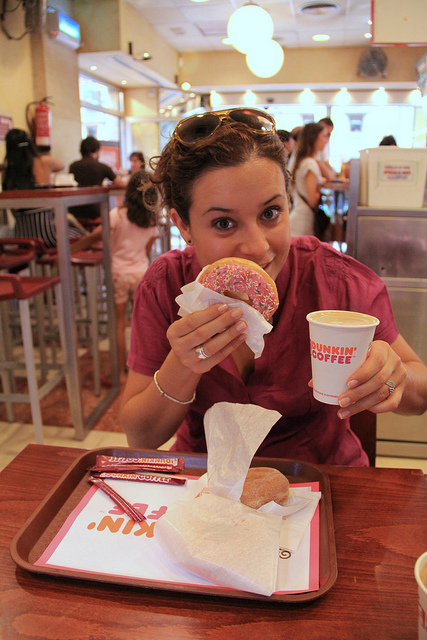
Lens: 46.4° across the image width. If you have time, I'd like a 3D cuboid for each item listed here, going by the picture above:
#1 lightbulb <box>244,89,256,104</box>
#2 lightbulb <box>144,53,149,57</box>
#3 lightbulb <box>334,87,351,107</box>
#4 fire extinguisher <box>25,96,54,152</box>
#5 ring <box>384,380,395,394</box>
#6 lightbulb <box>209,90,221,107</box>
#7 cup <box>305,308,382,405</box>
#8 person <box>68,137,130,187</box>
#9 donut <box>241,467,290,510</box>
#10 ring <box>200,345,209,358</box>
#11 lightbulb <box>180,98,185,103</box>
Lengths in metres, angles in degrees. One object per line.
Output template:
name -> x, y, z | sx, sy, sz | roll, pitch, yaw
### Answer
lightbulb -> 0.780, -4.780, 10.662 | 0.248, 0.390, 0.621 | 1, 14, 3
lightbulb -> -1.084, -4.264, 8.017 | 0.029, 0.059, 0.094 | 8, 15, 27
lightbulb -> 2.639, -4.620, 10.406 | 0.343, 0.397, 0.341 | 13, 20, 43
fire extinguisher -> -1.291, -1.489, 3.763 | 0.133, 0.377, 0.089 | 2, 21, -12
ring -> 0.286, 0.107, 0.807 | 0.013, 0.025, 0.021 | -4, 5, -3
lightbulb -> 0.040, -4.827, 10.854 | 0.223, 0.394, 0.485 | 1, 14, 2
cup -> 0.189, 0.065, 0.746 | 0.101, 0.116, 0.104 | 3, 4, 0
person -> -1.237, -1.532, 5.225 | 0.523, 0.706, 0.402 | 1, 5, -3
donut -> 0.066, 0.268, 0.789 | 0.084, 0.040, 0.087 | 10, -7, -3
ring -> -0.016, 0.053, 0.837 | 0.012, 0.021, 0.007 | -4, 15, -19
lightbulb -> -0.718, -5.023, 11.411 | 0.111, 0.071, 0.075 | -3, 14, -16
